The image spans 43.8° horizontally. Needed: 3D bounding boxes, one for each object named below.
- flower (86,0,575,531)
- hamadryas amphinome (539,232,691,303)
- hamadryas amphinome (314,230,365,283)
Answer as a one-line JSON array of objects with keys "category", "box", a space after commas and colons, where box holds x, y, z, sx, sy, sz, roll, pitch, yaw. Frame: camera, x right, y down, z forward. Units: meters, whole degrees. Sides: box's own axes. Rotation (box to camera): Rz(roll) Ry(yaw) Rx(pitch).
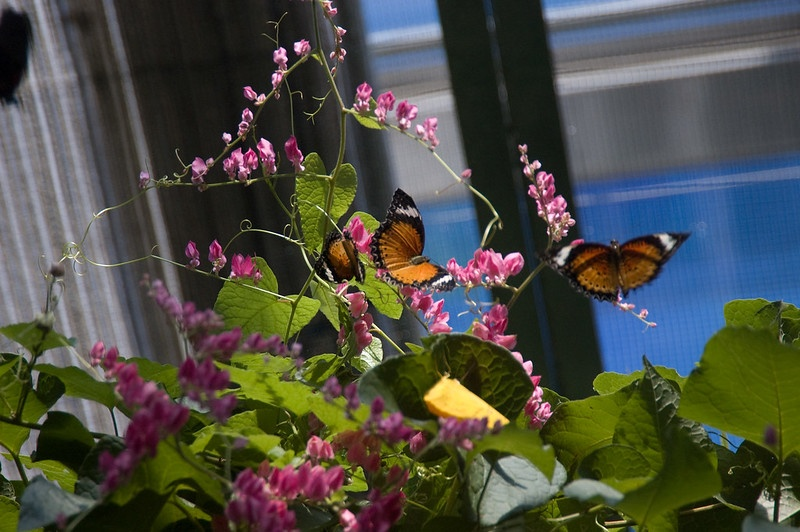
[{"category": "flower", "box": [-0.086, -0.044, 1.971, 0.873, 0.775, 0.720, -4, -2, 3]}, {"category": "hamadryas amphinome", "box": [0.440, -0.002, 2.029, 0.283, 0.135, 0.076, -7, 17, 15]}, {"category": "hamadryas amphinome", "box": [-0.116, -0.012, 1.924, 0.096, 0.101, 0.049, 0, 17, 20]}]
